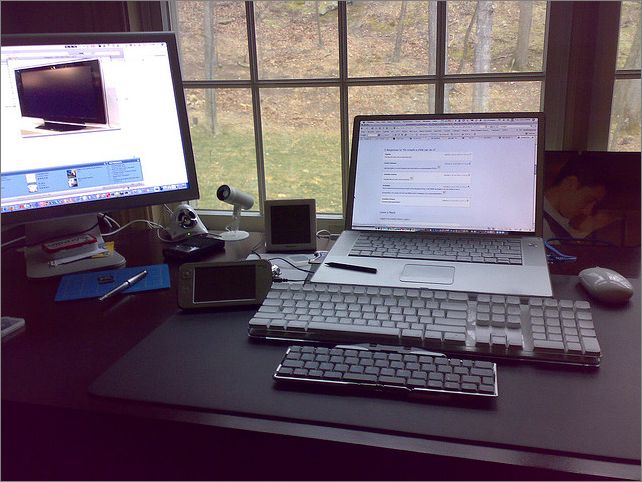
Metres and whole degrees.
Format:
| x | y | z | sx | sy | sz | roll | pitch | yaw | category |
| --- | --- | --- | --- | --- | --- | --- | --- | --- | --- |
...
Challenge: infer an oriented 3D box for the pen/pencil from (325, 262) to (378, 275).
| x | y | z | sx | sy | sz | roll | pitch | yaw | category |
| --- | --- | --- | --- | --- | --- | --- | --- | --- | --- |
| 0.072 | 0.065 | 1.129 | 0.125 | 0.013 | 0.015 | 6 | -11 | 17 | pen/pencil |

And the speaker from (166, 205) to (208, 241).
| x | y | z | sx | sy | sz | roll | pitch | yaw | category |
| --- | --- | --- | --- | --- | --- | --- | --- | --- | --- |
| -0.437 | -0.055 | 1.595 | 0.121 | 0.083 | 0.117 | -17 | 32 | -35 | speaker |

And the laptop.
| x | y | z | sx | sy | sz | roll | pitch | yaw | category |
| --- | --- | --- | --- | --- | --- | --- | --- | --- | --- |
| 0.295 | -0.111 | 1.222 | 0.598 | 0.354 | 0.442 | 4 | 21 | 12 | laptop |

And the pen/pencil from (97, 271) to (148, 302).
| x | y | z | sx | sy | sz | roll | pitch | yaw | category |
| --- | --- | --- | --- | --- | --- | --- | --- | --- | --- |
| -0.477 | 0.110 | 1.245 | 0.026 | 0.026 | 0.200 | 1 | 19 | 22 | pen/pencil |
